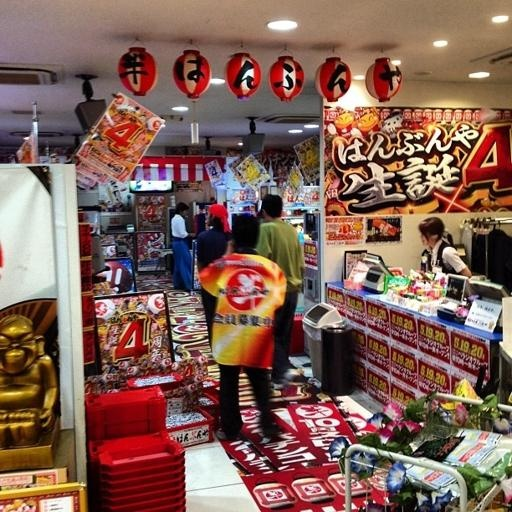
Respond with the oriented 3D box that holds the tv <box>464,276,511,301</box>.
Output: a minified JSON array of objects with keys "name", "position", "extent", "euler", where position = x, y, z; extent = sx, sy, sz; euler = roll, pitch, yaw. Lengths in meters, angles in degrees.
[{"name":"tv","position":[1.683,0.253,2.940],"extent":[0.167,0.049,0.187],"euler":[18,2,-34]}]

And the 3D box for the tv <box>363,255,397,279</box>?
[{"name":"tv","position":[1.384,0.111,4.633],"extent":[0.194,0.208,0.490],"euler":[-3,6,-10]}]

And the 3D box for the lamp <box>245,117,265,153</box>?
[{"name":"lamp","position":[-0.087,-2.763,9.170],"extent":[0.448,1.021,1.064],"euler":[-1,4,-8]}]

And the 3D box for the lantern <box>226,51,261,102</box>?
[{"name":"lantern","position":[-0.117,-1.583,3.531],"extent":[0.298,0.368,0.231],"euler":[-4,5,-16]}]

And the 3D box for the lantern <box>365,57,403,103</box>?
[{"name":"lantern","position":[1.207,-1.719,3.865],"extent":[0.287,0.448,0.271],"euler":[0,5,29]}]

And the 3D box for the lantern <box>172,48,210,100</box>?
[{"name":"lantern","position":[-0.555,-1.604,3.483],"extent":[0.266,0.439,0.216],"euler":[0,5,29]}]

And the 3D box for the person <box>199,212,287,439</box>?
[{"name":"person","position":[-0.102,0.552,3.302],"extent":[0.650,1.746,0.582],"euler":[0,10,-3]}]

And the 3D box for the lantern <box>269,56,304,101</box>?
[{"name":"lantern","position":[0.277,-1.637,3.723],"extent":[0.339,0.357,0.328],"euler":[-6,22,-7]}]

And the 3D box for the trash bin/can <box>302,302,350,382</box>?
[{"name":"trash bin/can","position":[0.816,0.987,4.697],"extent":[0.454,0.751,0.446],"euler":[-5,1,-15]}]

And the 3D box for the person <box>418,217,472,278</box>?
[{"name":"person","position":[1.964,-0.113,4.360],"extent":[0.296,0.588,0.777],"euler":[-2,5,-1]}]

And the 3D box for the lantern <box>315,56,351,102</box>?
[{"name":"lantern","position":[0.714,-1.659,3.778],"extent":[0.308,0.383,0.188],"euler":[-2,5,8]}]

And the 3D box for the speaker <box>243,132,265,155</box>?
[{"name":"speaker","position":[-0.066,-2.600,8.892],"extent":[0.440,0.527,0.785],"euler":[-1,10,-12]}]
